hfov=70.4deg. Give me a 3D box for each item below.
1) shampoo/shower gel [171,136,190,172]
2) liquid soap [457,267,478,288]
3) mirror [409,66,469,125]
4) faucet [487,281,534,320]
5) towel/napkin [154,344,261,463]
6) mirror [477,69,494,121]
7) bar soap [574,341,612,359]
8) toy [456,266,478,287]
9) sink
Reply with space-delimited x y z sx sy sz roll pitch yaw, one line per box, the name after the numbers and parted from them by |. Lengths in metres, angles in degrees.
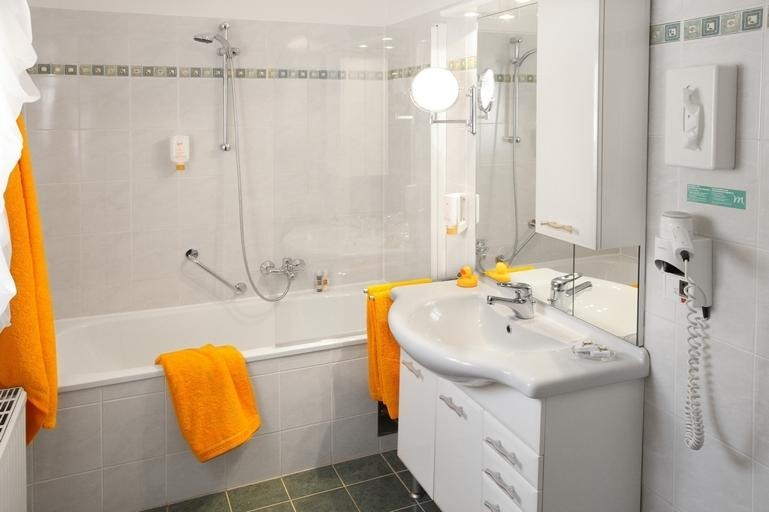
-1.317 -0.709 3.515 0.121 0.230 0.090 -3 -28 -16 | shampoo/shower gel
0.461 0.122 3.070 0.111 0.107 0.105 0 -2 -8 | liquid soap
0.324 -0.906 3.055 0.373 0.421 0.150 2 8 6 | mirror
0.621 0.233 2.635 0.248 0.185 0.086 -2 2 1 | faucet
-0.937 0.773 2.932 0.404 0.519 0.320 -16 21 -32 | towel/napkin
0.542 -0.868 2.871 0.048 0.199 0.142 10 13 36 | mirror
0.854 0.375 2.242 0.113 0.045 0.079 2 8 16 | bar soap
0.458 0.114 3.075 0.108 0.100 0.103 0 -2 -13 | toy
0.477 0.448 2.685 0.855 0.352 1.337 -4 13 -22 | sink
